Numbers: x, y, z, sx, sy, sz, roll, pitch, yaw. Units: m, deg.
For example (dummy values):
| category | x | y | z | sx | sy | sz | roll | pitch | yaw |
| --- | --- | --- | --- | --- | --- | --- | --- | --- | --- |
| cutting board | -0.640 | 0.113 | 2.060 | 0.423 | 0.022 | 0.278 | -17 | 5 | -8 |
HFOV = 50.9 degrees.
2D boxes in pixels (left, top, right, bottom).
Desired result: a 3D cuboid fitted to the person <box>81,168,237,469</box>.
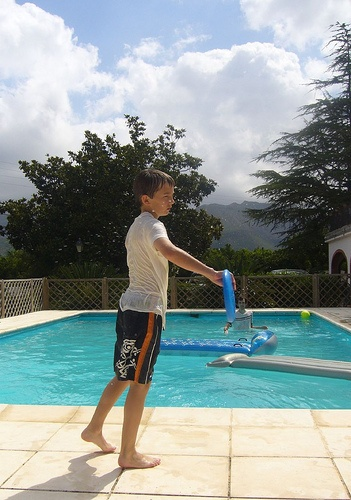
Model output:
| category | x | y | z | sx | sy | sz | roll | pitch | yaw |
| --- | --- | --- | --- | --- | --- | --- | --- | --- | --- |
| person | -0.090 | 0.250 | 2.762 | 1.186 | 2.403 | 1.188 | 0 | 3 | -21 |
